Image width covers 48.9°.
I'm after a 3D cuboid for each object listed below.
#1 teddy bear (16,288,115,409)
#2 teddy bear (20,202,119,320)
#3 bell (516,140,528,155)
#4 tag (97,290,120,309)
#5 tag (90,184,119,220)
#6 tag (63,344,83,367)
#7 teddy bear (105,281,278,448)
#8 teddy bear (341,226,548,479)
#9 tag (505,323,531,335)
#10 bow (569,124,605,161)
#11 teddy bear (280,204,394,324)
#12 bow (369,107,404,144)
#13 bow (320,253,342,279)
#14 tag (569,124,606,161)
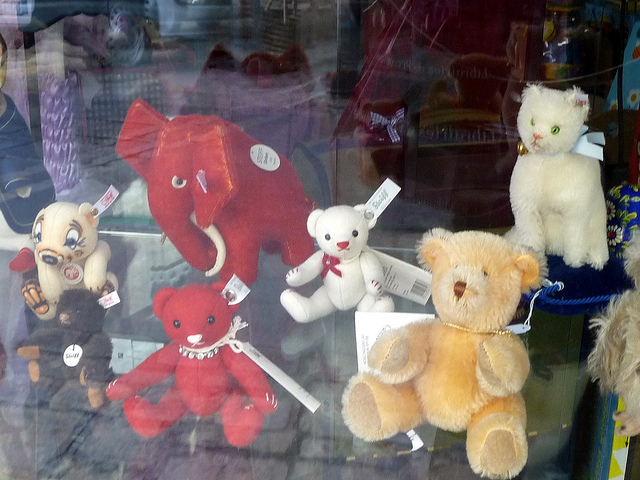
[{"bbox_3d":[-0.594,0.253,1.681,0.205,0.256,0.153,4,19,7],"label":"teddy bear"},{"bbox_3d":[-0.646,0.036,1.816,0.213,0.333,0.220,-1,26,-12],"label":"teddy bear"},{"bbox_3d":[0.465,-0.212,1.625,0.019,0.028,0.028,16,-15,15],"label":"bell"},{"bbox_3d":[-0.527,0.146,1.738,0.033,0.009,0.039,-23,65,-24],"label":"tag"},{"bbox_3d":[-0.535,-0.101,1.772,0.037,0.120,0.020,39,20,-3],"label":"tag"},{"bbox_3d":[-0.571,0.271,1.638,0.039,0.007,0.056,4,58,-3],"label":"tag"},{"bbox_3d":[-0.290,0.281,1.624,0.337,0.362,0.238,0,24,-6],"label":"teddy bear"},{"bbox_3d":[0.263,0.091,1.534,0.455,0.553,0.415,14,25,37],"label":"teddy bear"},{"bbox_3d":[0.424,0.195,1.502,0.005,0.028,0.080,-1,-2,39],"label":"tag"},{"bbox_3d":[0.603,-0.216,1.586,0.067,0.081,0.040,21,12,10],"label":"bow"},{"bbox_3d":[0.037,0.069,1.725,0.262,0.314,0.192,-5,34,3],"label":"teddy bear"},{"bbox_3d":[0.156,-0.282,1.648,0.063,0.079,0.021,10,-6,-14],"label":"bow"},{"bbox_3d":[0.030,0.062,1.735,0.050,0.065,0.009,5,6,37],"label":"bow"},{"bbox_3d":[0.614,-0.222,1.618,0.081,0.038,0.077,25,-1,38],"label":"tag"}]
